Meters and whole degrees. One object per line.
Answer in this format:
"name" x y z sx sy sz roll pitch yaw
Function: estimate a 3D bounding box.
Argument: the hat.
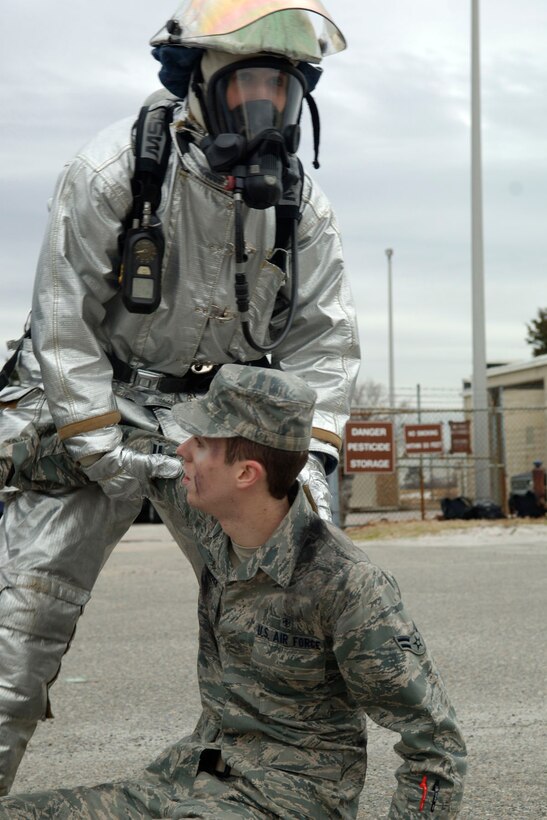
"hat" -0.058 -0.025 1.727 0.310 0.146 0.224 14 20 -9

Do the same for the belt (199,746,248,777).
"belt" -0.106 0.717 1.698 0.069 0.068 0.060 11 20 11

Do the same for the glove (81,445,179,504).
"glove" -0.346 0.142 2.242 0.209 0.082 0.157 10 5 29

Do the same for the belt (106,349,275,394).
"belt" -0.318 -0.091 2.497 0.266 0.075 0.187 13 0 -33
